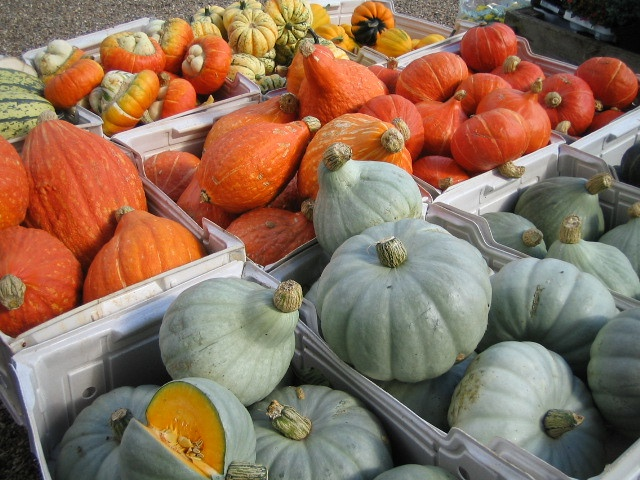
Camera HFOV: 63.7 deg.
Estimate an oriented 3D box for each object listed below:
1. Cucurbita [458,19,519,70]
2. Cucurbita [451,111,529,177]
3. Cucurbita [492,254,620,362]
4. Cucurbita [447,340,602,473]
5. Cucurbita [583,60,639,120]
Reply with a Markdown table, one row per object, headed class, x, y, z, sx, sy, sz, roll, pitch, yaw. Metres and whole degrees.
| class | x | y | z | sx | sy | sz | roll | pitch | yaw |
| --- | --- | --- | --- | --- | --- | --- | --- | --- | --- |
| Cucurbita | 1.326 | -1.476 | 3.986 | 0.397 | 0.389 | 0.413 | -9 | 16 | -15 |
| Cucurbita | 0.958 | -0.549 | 2.979 | 0.366 | 0.355 | 0.280 | -34 | 97 | -42 |
| Cucurbita | 0.942 | 0.221 | 2.195 | 0.415 | 0.408 | 0.392 | 55 | 20 | -11 |
| Cucurbita | 0.691 | 0.625 | 1.951 | 0.427 | 0.422 | 0.474 | 10 | 59 | -29 |
| Cucurbita | 2.059 | -1.088 | 3.765 | 0.356 | 0.354 | 0.343 | 43 | 20 | 6 |
